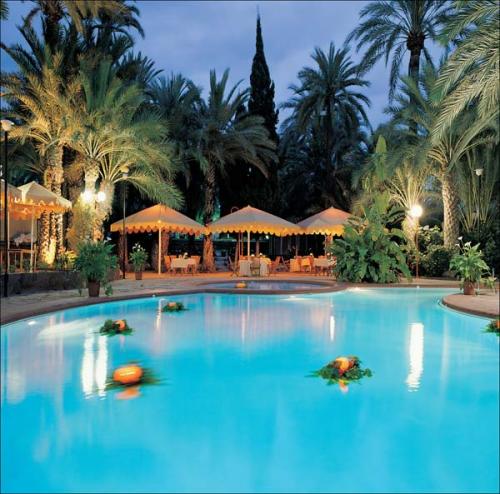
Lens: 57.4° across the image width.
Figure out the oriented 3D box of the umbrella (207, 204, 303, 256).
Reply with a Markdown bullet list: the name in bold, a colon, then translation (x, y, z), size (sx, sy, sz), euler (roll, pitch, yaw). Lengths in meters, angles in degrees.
- **umbrella**: translation (0.193, -1.263, 21.801), size (4.095, 1.458, 1.876), euler (1, 2, -7)

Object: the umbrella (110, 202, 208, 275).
- **umbrella**: translation (-4.251, -0.392, 22.353), size (3.395, 3.451, 3.368), euler (2, 2, 26)

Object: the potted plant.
- **potted plant**: translation (-4.312, 0.549, 12.626), size (0.779, 1.549, 1.116), euler (2, 1, 8)

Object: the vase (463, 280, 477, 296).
- **vase**: translation (6.418, 1.183, 13.375), size (0.282, 0.393, 0.372), euler (1, -6, 1)

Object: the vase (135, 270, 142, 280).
- **vase**: translation (-4.719, 1.161, 19.346), size (0.287, 0.477, 0.307), euler (0, -5, -7)
